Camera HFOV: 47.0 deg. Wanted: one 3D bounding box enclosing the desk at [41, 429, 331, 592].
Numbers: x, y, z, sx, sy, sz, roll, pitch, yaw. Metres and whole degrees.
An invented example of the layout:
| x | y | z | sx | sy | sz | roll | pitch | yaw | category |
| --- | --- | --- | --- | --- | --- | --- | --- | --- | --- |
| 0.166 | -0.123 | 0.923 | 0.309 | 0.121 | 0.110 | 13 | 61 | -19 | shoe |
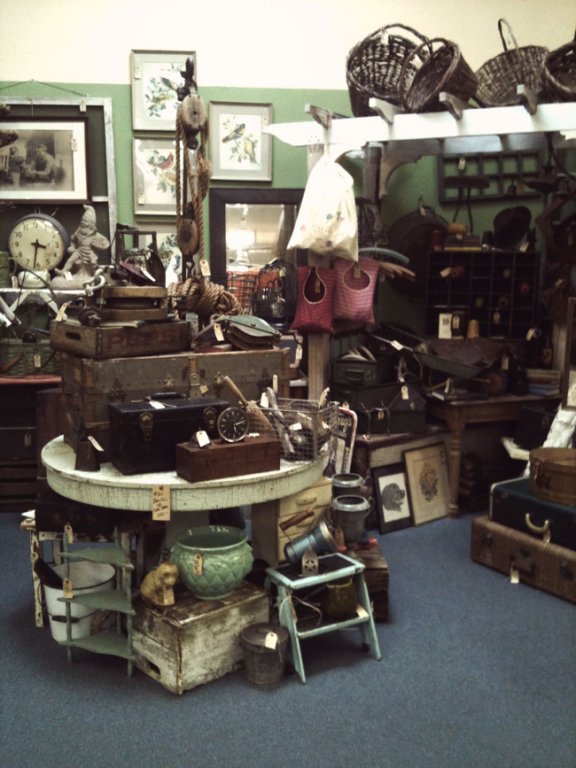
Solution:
| x | y | z | sx | sy | sz | roll | pitch | yaw | category |
| --- | --- | --- | --- | --- | --- | --- | --- | --- | --- |
| -0.420 | 0.615 | 2.969 | 1.272 | 0.575 | 0.782 | -2 | 6 | -24 | desk |

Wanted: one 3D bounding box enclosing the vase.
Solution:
| x | y | z | sx | sy | sz | roll | pitch | yaw | category |
| --- | --- | --- | --- | --- | --- | --- | --- | --- | --- |
| -0.326 | 0.768 | 2.821 | 0.335 | 0.253 | 0.371 | 3 | 4 | 25 | vase |

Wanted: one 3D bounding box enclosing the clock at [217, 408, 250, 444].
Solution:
| x | y | z | sx | sy | sz | roll | pitch | yaw | category |
| --- | --- | --- | --- | --- | --- | --- | --- | --- | --- |
| -0.233 | 0.182 | 2.737 | 0.121 | 0.152 | 0.031 | 2 | -7 | -34 | clock |

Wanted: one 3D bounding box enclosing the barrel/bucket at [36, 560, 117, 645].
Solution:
| x | y | z | sx | sy | sz | roll | pitch | yaw | category |
| --- | --- | --- | --- | --- | --- | --- | --- | --- | --- |
| -0.975 | 0.933 | 2.967 | 0.299 | 0.373 | 0.351 | 5 | 7 | 34 | barrel/bucket |

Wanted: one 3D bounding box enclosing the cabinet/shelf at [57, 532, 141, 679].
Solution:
| x | y | z | sx | sy | sz | roll | pitch | yaw | category |
| --- | --- | --- | --- | --- | --- | --- | --- | --- | --- |
| -0.809 | 0.969 | 2.838 | 0.323 | 0.589 | 0.399 | 1 | 8 | 9 | cabinet/shelf |

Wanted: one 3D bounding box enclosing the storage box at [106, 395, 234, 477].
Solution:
| x | y | z | sx | sy | sz | roll | pitch | yaw | category |
| --- | --- | --- | --- | --- | --- | --- | --- | --- | --- |
| -0.540 | 0.202 | 2.729 | 0.424 | 0.305 | 0.271 | -5 | 9 | -34 | storage box |

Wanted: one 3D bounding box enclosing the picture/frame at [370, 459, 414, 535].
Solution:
| x | y | z | sx | sy | sz | roll | pitch | yaw | category |
| --- | --- | --- | --- | --- | --- | --- | --- | --- | --- |
| 0.702 | 0.801 | 4.556 | 0.387 | 0.594 | 0.045 | -7 | -2 | -38 | picture/frame |

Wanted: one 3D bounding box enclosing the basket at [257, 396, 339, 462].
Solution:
| x | y | z | sx | sy | sz | roll | pitch | yaw | category |
| --- | --- | --- | --- | --- | --- | --- | --- | --- | --- |
| 0.022 | 0.207 | 3.152 | 0.286 | 0.214 | 0.307 | 4 | 6 | 29 | basket |

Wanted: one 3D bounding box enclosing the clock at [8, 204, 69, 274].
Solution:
| x | y | z | sx | sy | sz | roll | pitch | yaw | category |
| --- | --- | --- | --- | --- | --- | --- | --- | --- | --- |
| -2.022 | -1.087 | 5.282 | 0.465 | 0.458 | 0.160 | 1 | 5 | 5 | clock |

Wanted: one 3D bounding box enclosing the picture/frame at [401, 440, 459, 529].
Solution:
| x | y | z | sx | sy | sz | roll | pitch | yaw | category |
| --- | --- | --- | --- | --- | --- | --- | --- | --- | --- |
| 1.000 | 0.735 | 4.731 | 0.438 | 0.625 | 0.058 | -13 | 4 | -40 | picture/frame |

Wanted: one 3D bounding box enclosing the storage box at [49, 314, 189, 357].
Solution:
| x | y | z | sx | sy | sz | roll | pitch | yaw | category |
| --- | --- | --- | --- | --- | --- | --- | --- | --- | --- |
| -0.808 | -0.207 | 3.201 | 0.681 | 0.169 | 0.593 | 0 | 5 | -13 | storage box |

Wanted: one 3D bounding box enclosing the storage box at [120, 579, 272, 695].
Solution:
| x | y | z | sx | sy | sz | roll | pitch | yaw | category |
| --- | --- | --- | --- | --- | --- | --- | --- | --- | --- |
| -0.414 | 0.974 | 2.697 | 0.415 | 0.289 | 0.299 | -6 | 8 | -41 | storage box |
